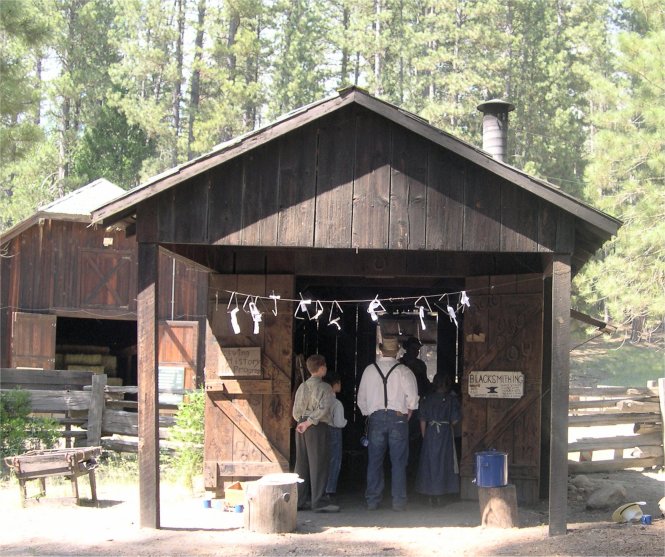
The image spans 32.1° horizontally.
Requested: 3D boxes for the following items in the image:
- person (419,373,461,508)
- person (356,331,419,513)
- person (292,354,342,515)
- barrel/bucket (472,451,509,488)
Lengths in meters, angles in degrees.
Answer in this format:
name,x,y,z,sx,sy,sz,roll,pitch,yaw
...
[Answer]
name,x,y,z,sx,sy,sz,roll,pitch,yaw
person,2.399,3.386,24.027,1.004,2.439,0.899,18,4,32
person,1.135,2.934,23.338,1.129,3.422,0.324,0,-5,1
person,-0.351,3.100,23.073,0.787,3.082,0.654,-1,-5,6
barrel/bucket,3.113,3.741,22.604,0.586,0.628,0.589,0,-4,0
